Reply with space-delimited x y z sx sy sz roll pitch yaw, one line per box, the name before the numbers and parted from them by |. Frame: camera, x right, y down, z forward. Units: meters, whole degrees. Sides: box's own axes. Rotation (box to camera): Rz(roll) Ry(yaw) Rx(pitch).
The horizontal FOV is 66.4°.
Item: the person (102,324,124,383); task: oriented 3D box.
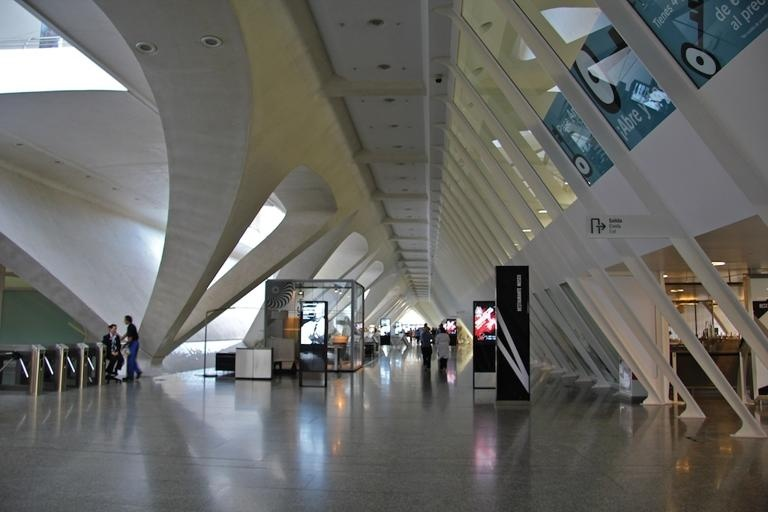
person | -8.485 2.996 18.266 0.590 1.676 1.748 4 -15 -25
